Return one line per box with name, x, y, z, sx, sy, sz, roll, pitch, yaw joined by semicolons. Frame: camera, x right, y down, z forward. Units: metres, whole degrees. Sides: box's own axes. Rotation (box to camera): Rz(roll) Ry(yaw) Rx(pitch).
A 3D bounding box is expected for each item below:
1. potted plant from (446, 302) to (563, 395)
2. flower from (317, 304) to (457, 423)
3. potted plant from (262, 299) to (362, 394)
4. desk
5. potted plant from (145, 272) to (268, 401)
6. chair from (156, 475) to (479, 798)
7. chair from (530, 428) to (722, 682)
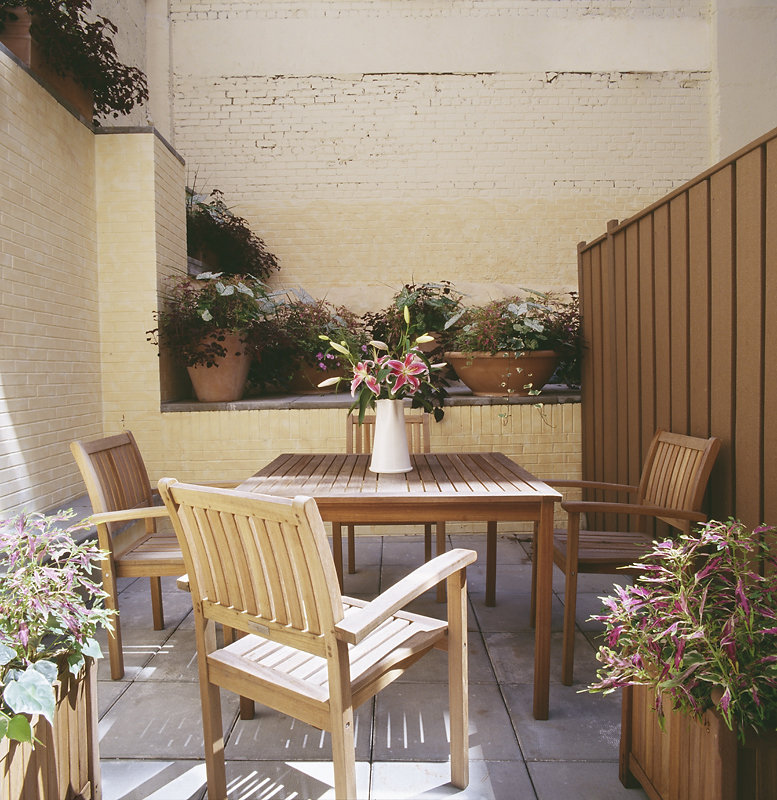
potted plant;0.699;-0.306;5.056;0.751;0.527;0.599;-2;-1;-6
flower;-0.026;-0.118;2.955;0.446;0.316;0.592;-5;7;-6
potted plant;-0.596;-0.391;5.619;0.787;0.668;0.768;-2;-2;40
desk;-0.032;0.565;3.040;1.168;0.577;1.047;4;3;3
potted plant;-1.089;-0.377;5.110;0.876;0.756;0.773;-1;1;-10
chair;-0.148;0.622;2.153;0.613;0.914;0.583;7;11;39
chair;0.939;0.535;3.281;0.857;1.084;0.876;1;0;3
